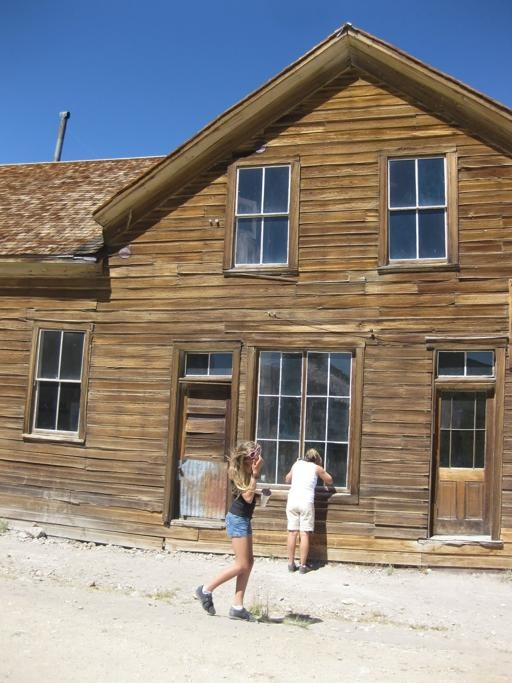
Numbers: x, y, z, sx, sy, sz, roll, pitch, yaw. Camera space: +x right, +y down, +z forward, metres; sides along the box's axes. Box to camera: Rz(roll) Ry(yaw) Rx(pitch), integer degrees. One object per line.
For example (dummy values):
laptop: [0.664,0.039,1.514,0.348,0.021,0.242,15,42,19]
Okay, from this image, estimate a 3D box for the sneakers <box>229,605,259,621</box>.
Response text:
sneakers: [-0.073,2.616,7.064,0.340,0.109,0.099,6,-6,-7]

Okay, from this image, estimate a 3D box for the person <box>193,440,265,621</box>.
person: [-0.210,1.811,7.064,0.531,1.696,0.620,7,-11,-5]

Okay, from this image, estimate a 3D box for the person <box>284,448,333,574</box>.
person: [0.673,2.198,9.627,0.594,1.563,0.505,4,-11,6]

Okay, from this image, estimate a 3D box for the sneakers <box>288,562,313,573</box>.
sneakers: [0.580,2.903,9.431,0.292,0.109,0.311,1,-9,16]
